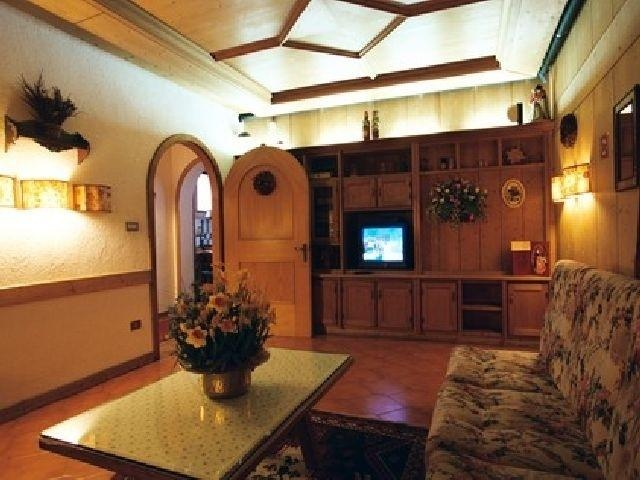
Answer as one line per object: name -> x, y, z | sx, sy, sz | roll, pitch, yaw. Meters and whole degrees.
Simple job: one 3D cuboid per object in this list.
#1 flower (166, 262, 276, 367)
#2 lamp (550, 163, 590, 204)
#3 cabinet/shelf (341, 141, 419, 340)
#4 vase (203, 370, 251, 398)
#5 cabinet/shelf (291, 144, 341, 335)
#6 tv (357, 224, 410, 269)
flower -> -0.748, 0.626, 3.688 | 0.592, 0.567, 0.662 | -7, -9, 15
lamp -> 2.375, -0.541, 4.803 | 0.272, 0.354, 0.786 | 2, 8, 22
cabinet/shelf -> 0.784, 0.009, 6.844 | 0.946, 2.485, 0.439 | 0, 7, 12
vase -> -0.636, 0.946, 3.482 | 0.200, 0.163, 0.212 | -2, -3, 27
cabinet/shelf -> -0.290, -0.113, 7.222 | 0.338, 2.462, 0.919 | 17, 5, 18
tv -> 0.869, 0.032, 6.957 | 0.698, 0.649, 0.417 | 1, 16, 14
